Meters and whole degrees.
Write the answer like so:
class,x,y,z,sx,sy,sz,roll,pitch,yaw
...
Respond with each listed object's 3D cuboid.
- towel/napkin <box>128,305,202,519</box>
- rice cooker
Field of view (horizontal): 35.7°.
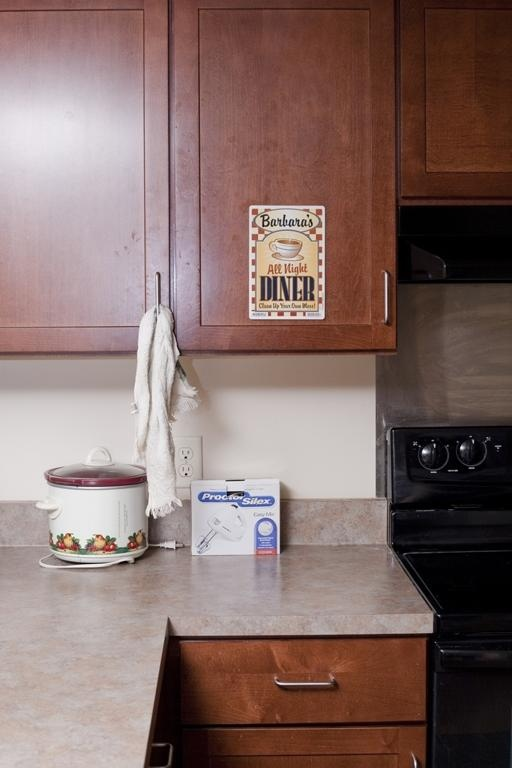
class,x,y,z,sx,sy,sz,roll,pitch,yaw
towel/napkin,-0.194,0.042,1.566,0.168,0.473,0.100,0,-1,-5
rice cooker,-0.352,0.257,1.716,0.251,0.228,0.201,0,4,-12
